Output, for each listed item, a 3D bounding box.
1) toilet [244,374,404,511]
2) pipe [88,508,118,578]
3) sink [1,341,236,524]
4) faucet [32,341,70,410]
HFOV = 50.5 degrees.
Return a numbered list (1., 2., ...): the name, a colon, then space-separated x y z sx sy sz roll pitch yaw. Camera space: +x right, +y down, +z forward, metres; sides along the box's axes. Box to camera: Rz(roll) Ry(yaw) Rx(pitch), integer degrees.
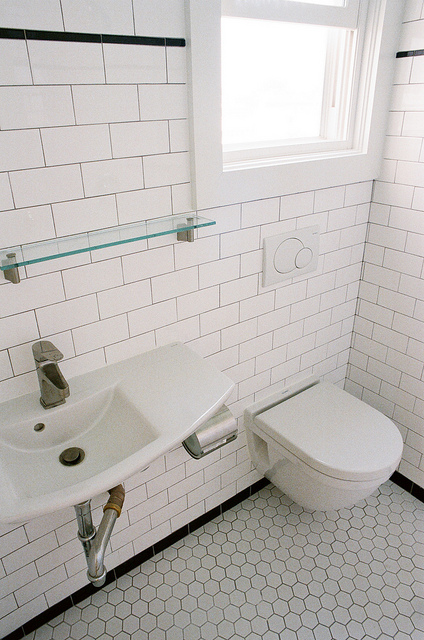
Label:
1. toilet: 0.428 0.536 1.747 0.423 0.374 0.535 -14 30 -32
2. pipe: -0.262 0.527 1.100 0.051 0.191 0.059 10 6 12
3. sink: -0.239 0.238 1.105 0.606 0.135 0.436 -24 34 -33
4. faucet: -0.386 0.143 1.080 0.070 0.152 0.126 -18 30 -27
